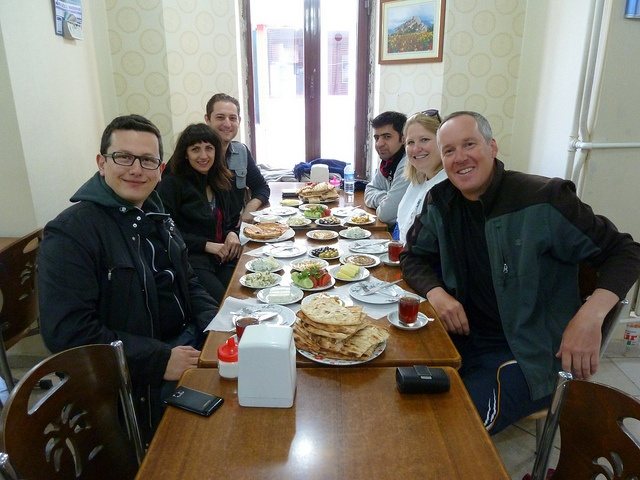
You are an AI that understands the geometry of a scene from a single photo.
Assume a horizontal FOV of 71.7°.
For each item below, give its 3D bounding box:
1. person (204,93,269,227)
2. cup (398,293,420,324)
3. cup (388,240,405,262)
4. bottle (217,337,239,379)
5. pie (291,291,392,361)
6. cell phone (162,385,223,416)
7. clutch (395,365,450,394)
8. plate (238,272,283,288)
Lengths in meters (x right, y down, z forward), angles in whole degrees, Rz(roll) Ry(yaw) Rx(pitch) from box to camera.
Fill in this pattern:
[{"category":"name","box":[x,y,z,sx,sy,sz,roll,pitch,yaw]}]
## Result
[{"category":"person","box":[-0.753,-0.615,3.689,0.700,1.119,0.593,-2,9,-27]},{"category":"cup","box":[0.357,0.279,1.807,0.070,0.101,0.114,5,19,6]},{"category":"cup","box":[0.397,0.059,2.359,0.088,0.104,0.092,1,10,0]},{"category":"bottle","box":[-0.302,0.416,1.545,0.090,0.142,0.092,-3,6,0]},{"category":"pie","box":[0.057,0.334,1.645,0.232,0.093,0.238,9,28,19]},{"category":"cell phone","box":[-0.395,0.520,1.421,0.136,0.020,0.080,8,20,17]},{"category":"clutch","box":[0.339,0.464,1.466,0.123,0.047,0.092,0,12,-2]},{"category":"plate","box":[-0.284,0.195,2.103,0.104,0.026,0.106,3,12,16]}]
